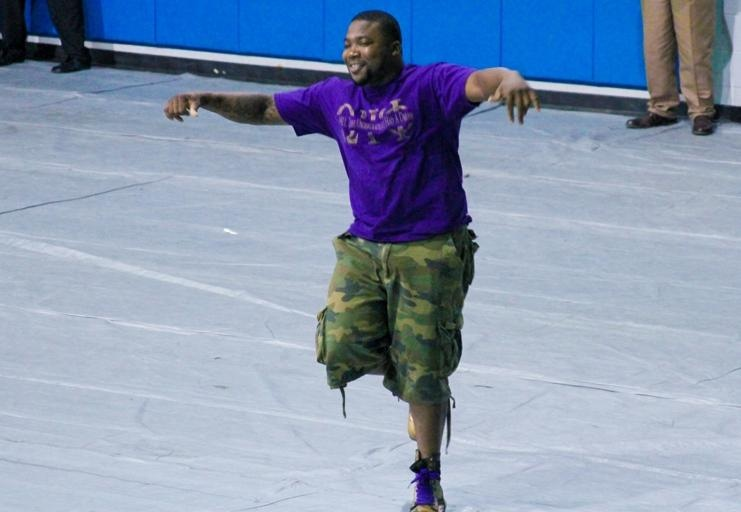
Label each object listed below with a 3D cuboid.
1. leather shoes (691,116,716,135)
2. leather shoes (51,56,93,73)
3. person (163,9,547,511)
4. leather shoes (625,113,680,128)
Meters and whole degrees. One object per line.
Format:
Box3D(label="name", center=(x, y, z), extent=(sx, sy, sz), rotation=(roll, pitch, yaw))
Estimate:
Box3D(label="leather shoes", center=(3.168, -1.254, 16.388), extent=(0.210, 0.172, 0.274), rotation=(2, 10, 11))
Box3D(label="leather shoes", center=(-3.482, -2.231, 19.922), extent=(0.276, 0.180, 0.613), rotation=(4, 9, 20))
Box3D(label="person", center=(0.118, 0.032, 10.644), extent=(1.833, 3.098, 0.777), rotation=(2, 11, 8))
Box3D(label="leather shoes", center=(2.700, -1.329, 16.726), extent=(0.544, 0.147, 0.171), rotation=(-1, 9, -18))
